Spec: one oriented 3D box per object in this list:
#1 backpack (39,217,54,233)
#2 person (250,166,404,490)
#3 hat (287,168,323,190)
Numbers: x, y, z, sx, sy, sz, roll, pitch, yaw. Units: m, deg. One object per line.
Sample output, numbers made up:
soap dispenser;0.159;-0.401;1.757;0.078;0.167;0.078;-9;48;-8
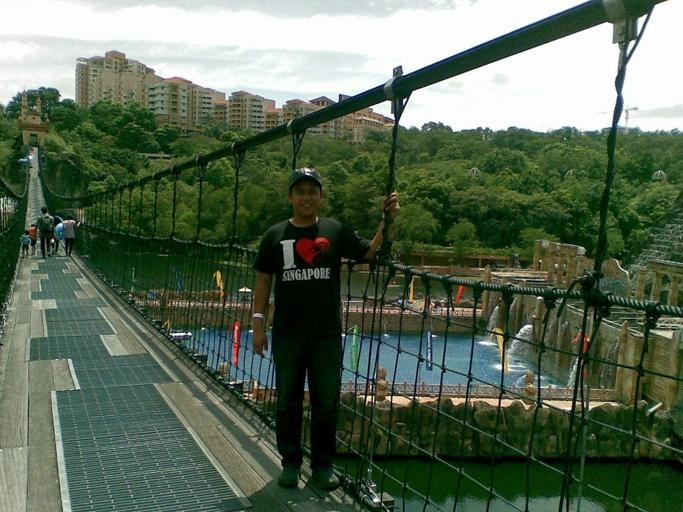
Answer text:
backpack;-9.020;-0.890;18.937;0.527;0.566;0.334;0;-2;8
person;-0.222;0.544;4.439;0.813;2.269;0.323;2;8;-7
hat;-0.249;-0.547;4.444;0.191;0.163;0.266;2;-1;-3
